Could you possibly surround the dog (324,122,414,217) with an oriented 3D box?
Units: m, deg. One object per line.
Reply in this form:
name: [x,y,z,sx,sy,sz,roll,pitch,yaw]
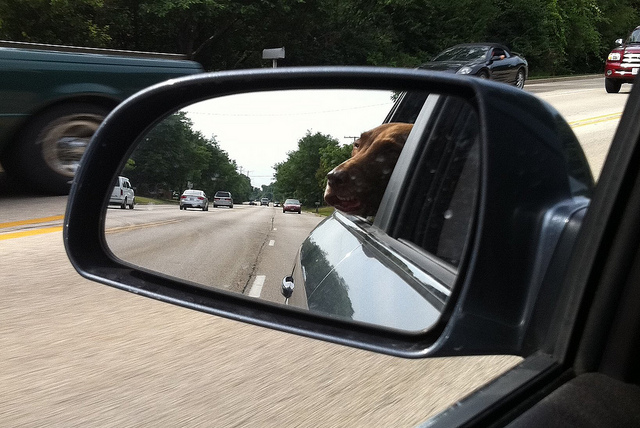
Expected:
dog: [0.161,-0.142,1.311,0.291,0.303,0.127,0,12,-3]
